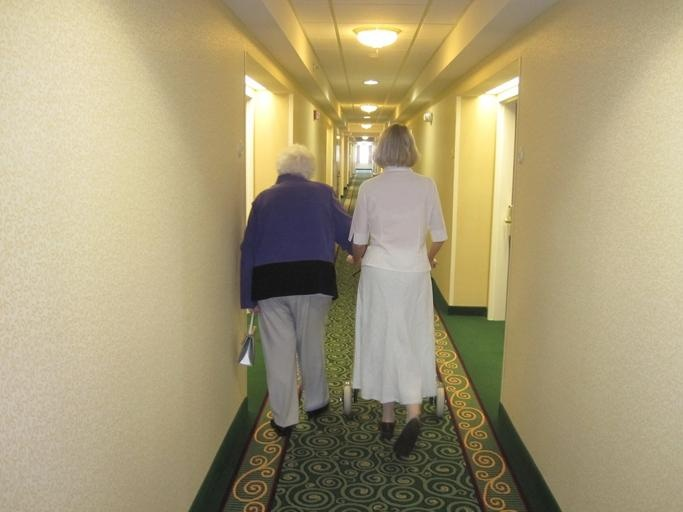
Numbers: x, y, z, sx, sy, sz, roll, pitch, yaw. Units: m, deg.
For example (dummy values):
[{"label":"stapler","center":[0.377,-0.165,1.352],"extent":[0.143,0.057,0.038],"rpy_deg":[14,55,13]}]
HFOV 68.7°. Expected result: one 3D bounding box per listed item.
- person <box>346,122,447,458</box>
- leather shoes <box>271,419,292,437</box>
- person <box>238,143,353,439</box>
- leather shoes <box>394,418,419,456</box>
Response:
[{"label":"person","center":[0.337,0.213,3.267],"extent":[0.628,2.100,0.580],"rpy_deg":[2,10,11]},{"label":"leather shoes","center":[-0.406,1.199,3.490],"extent":[0.080,0.136,0.045],"rpy_deg":[8,46,12]},{"label":"person","center":[-0.319,0.244,3.447],"extent":[0.755,1.955,0.369],"rpy_deg":[-2,10,-14]},{"label":"leather shoes","center":[0.405,1.147,3.175],"extent":[0.116,0.247,0.100],"rpy_deg":[25,-12,16]}]
